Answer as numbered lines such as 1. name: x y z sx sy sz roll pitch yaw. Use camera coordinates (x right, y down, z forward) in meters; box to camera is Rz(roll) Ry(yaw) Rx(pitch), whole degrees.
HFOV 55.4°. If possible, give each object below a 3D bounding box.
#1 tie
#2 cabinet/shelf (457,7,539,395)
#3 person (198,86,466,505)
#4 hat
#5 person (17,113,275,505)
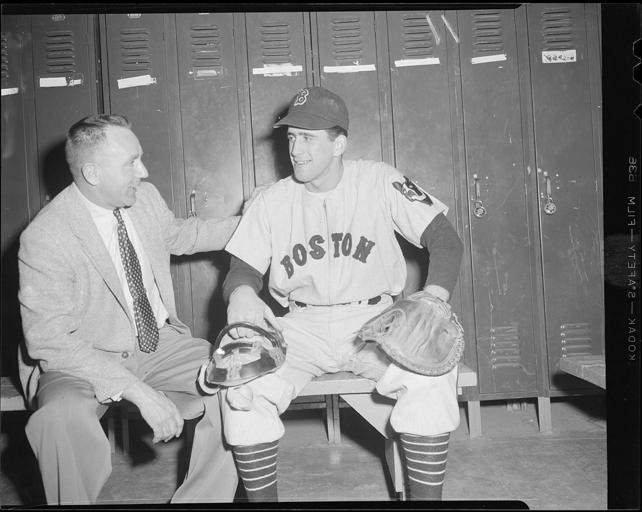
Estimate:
1. tie: -0.845 0.134 2.796 0.125 0.794 0.064 -12 -6 -28
2. cabinet/shelf: 1.076 -0.316 3.672 0.429 2.298 0.272 -2 5 8
3. person: 0.096 0.203 2.670 0.978 1.839 0.995 -3 9 5
4. hat: -0.045 -0.617 2.712 0.268 0.154 0.204 -2 12 -39
5. person: -0.862 0.208 2.662 0.815 1.668 0.666 -4 5 -21
